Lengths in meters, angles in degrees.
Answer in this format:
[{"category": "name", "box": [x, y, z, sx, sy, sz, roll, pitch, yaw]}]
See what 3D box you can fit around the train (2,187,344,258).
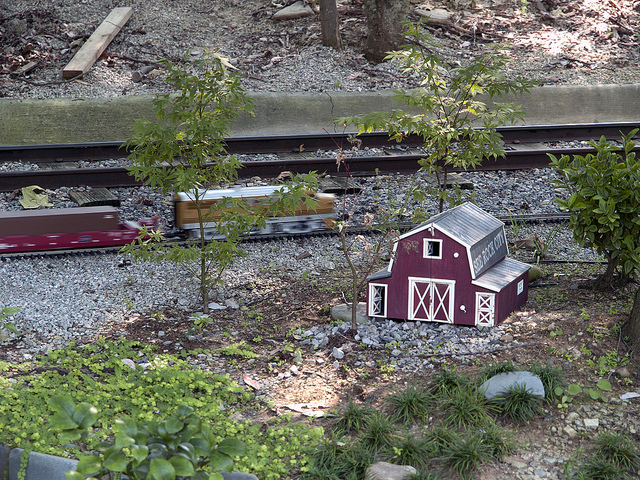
[{"category": "train", "box": [-2.324, -0.242, 12.791, 6.593, 0.727, 0.630, -4, 27, -11]}]
